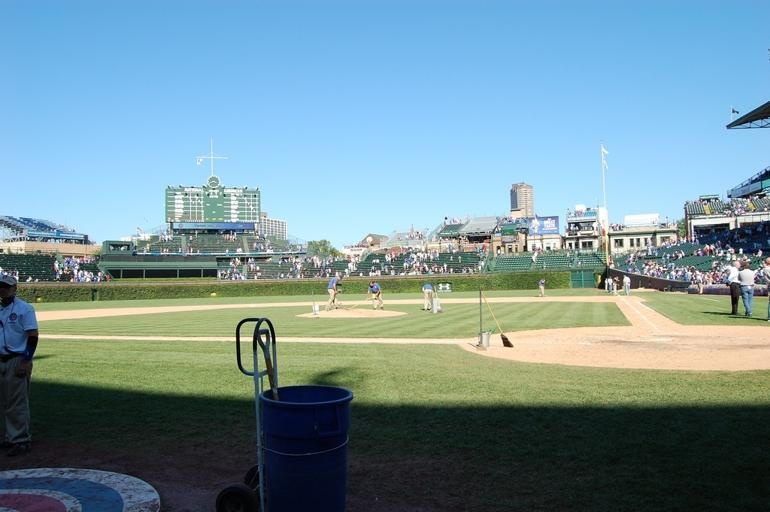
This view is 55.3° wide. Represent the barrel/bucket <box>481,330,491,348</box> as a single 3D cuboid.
[{"bbox_3d":[3.056,2.545,22.361,0.191,0.478,0.350,-2,0,31],"label":"barrel/bucket"}]
